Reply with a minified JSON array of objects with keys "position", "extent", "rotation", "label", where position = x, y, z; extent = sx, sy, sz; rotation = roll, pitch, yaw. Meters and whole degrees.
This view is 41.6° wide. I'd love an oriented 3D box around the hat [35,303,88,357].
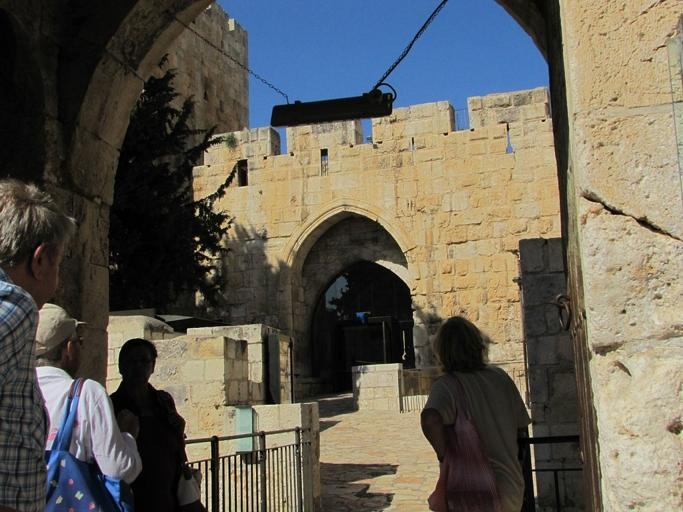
[{"position":[-1.239,0.301,3.933],"extent":[0.141,0.121,0.202],"rotation":[10,33,22],"label":"hat"}]
